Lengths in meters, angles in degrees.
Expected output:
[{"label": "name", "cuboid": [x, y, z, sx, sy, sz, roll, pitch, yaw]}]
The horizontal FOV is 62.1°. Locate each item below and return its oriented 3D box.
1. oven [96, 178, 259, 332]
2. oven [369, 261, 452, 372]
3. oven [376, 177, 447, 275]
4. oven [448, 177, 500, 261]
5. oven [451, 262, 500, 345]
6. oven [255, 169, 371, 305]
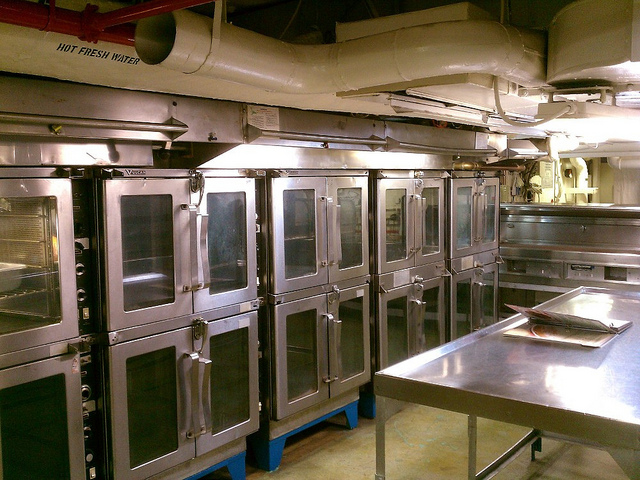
[{"label": "oven", "cuboid": [-0.846, 0.079, 3.062, 0.409, 0.704, 0.946, 1, 4, 38]}, {"label": "oven", "cuboid": [0.721, 0.711, 4.838, 0.530, 0.911, 1.108, 3, 7, 45]}, {"label": "oven", "cuboid": [0.730, -0.157, 4.737, 0.900, 0.765, 0.410, -5, 5, -40]}, {"label": "oven", "cuboid": [1.456, -0.226, 5.452, 0.501, 0.839, 1.015, 3, 6, 43]}, {"label": "oven", "cuboid": [1.865, 0.683, 5.705, 0.402, 0.811, 0.881, 12, 10, 42]}, {"label": "oven", "cuboid": [-0.044, -0.090, 4.032, 0.971, 0.841, 0.394, -7, 8, -44]}]
